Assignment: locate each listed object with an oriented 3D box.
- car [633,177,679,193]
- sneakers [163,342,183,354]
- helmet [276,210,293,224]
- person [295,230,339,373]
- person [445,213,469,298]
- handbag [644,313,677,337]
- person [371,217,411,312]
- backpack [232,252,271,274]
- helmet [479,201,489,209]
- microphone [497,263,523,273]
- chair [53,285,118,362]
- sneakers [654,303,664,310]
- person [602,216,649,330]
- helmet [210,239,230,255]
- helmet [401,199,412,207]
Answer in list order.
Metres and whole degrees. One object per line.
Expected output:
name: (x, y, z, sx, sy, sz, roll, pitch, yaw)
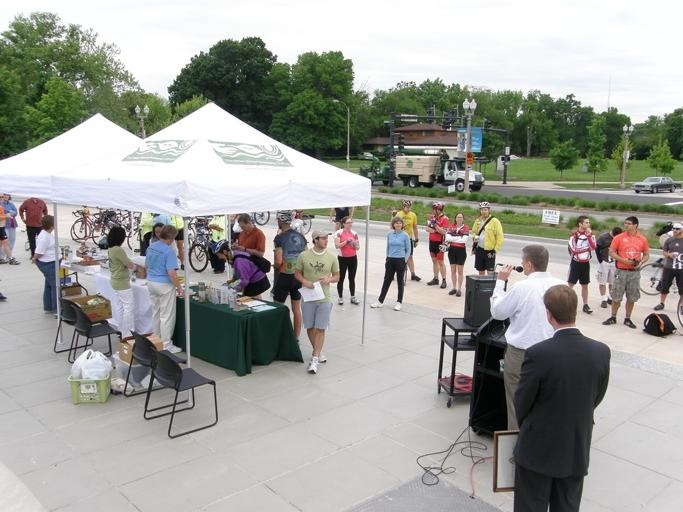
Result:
car: (25.866, -5.819, 47.232, 3.999, 1.230, 1.745, -6, 11, -33)
sneakers: (-2.976, 1.636, 10.133, 0.299, 0.127, 0.160, 6, 10, -9)
helmet: (-1.019, -0.699, 10.262, 0.240, 0.309, 0.281, 5, -4, -42)
person: (-0.385, 0.759, 9.539, 0.687, 2.321, 0.405, -6, 12, -33)
person: (2.830, -0.062, 14.153, 0.528, 2.018, 1.250, 2, 10, 11)
handbag: (6.291, 1.322, 11.363, 0.375, 0.304, 0.531, 7, 12, 41)
person: (1.141, 0.140, 12.928, 0.735, 2.049, 1.186, 1, 10, 5)
backpack: (-1.579, 0.162, 10.569, 0.478, 0.210, 0.377, 15, 3, -18)
helmet: (3.276, -1.156, 13.173, 0.182, 0.141, 0.313, 1, 9, 6)
microphone: (2.894, 0.203, 9.974, 0.264, 0.097, 0.281, -1, 2, -26)
chair: (-4.561, 1.244, 10.298, 0.712, 1.178, 0.832, 23, 25, 26)
sneakers: (7.095, 1.140, 12.864, 0.301, 0.135, 0.104, 5, -2, -39)
person: (5.838, 0.312, 11.823, 0.690, 2.249, 0.780, 6, 11, 31)
helmet: (-2.978, -0.234, 14.102, 0.592, 0.224, 0.463, -4, 4, 24)
helmet: (1.619, -1.289, 14.485, 0.209, 0.094, 0.304, -4, 15, -6)
